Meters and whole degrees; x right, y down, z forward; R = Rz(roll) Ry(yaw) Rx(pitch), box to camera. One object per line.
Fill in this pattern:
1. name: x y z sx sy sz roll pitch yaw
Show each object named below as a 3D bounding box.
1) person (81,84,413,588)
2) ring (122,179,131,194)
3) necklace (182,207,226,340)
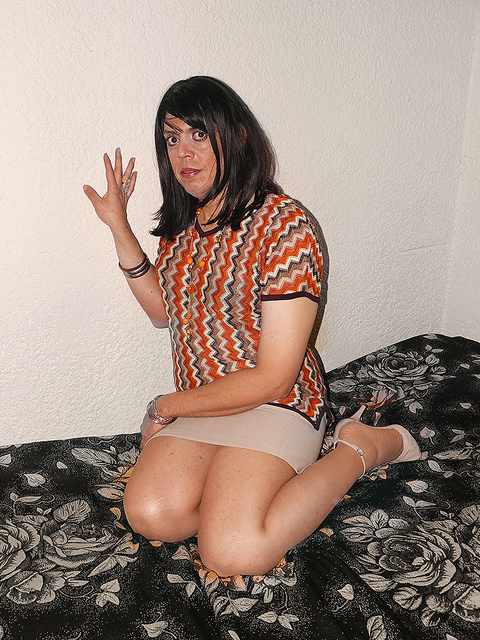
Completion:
1. person: 0.083 0.086 1.668 1.027 1.302 0.742 -1 -5 -25
2. ring: -0.255 -0.302 1.306 0.021 0.022 0.025 1 -28 -29
3. necklace: -0.088 -0.098 1.208 0.083 0.242 0.012 8 -17 27
